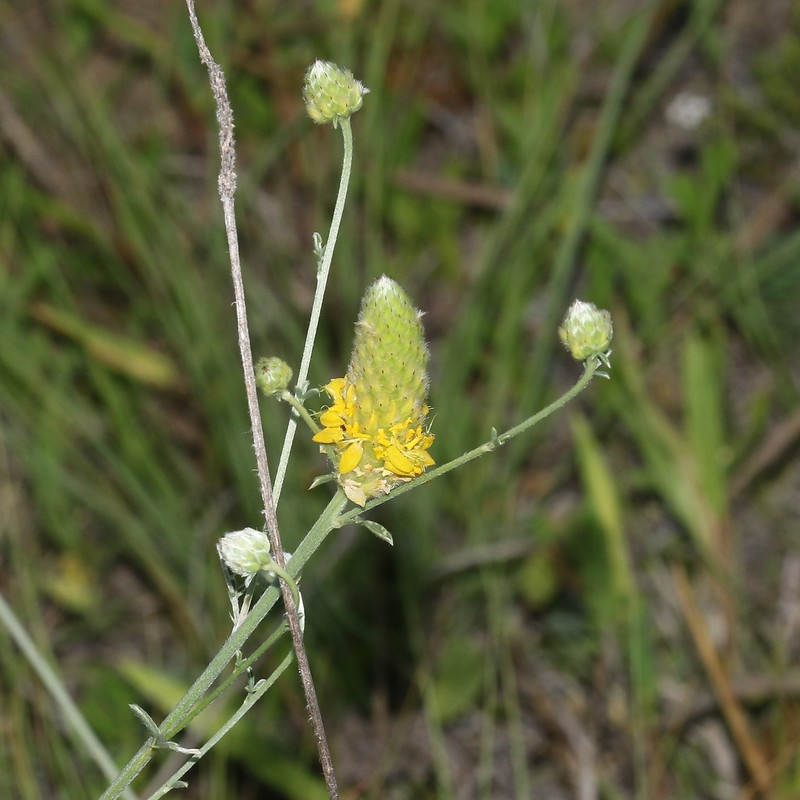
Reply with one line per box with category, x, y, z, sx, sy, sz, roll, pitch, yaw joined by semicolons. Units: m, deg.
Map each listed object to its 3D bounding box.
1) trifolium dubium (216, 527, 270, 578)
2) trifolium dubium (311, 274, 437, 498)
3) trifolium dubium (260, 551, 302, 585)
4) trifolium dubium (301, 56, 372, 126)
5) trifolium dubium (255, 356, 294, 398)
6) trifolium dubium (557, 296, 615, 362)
trifolium dubium;-0.117;0.119;0.756;0.032;0.030;0.039;19;72;-26
trifolium dubium;-0.018;-0.002;0.834;0.082;0.103;0.185;6;73;13
trifolium dubium;-0.096;0.132;0.824;0.010;0.023;0.032;24;65;-9
trifolium dubium;-0.051;-0.249;0.840;0.038;0.046;0.027;11;75;-37
trifolium dubium;-0.105;-0.018;0.831;0.031;0.029;0.031;15;77;3
trifolium dubium;0.152;-0.056;0.854;0.037;0.046;0.060;-3;84;5
